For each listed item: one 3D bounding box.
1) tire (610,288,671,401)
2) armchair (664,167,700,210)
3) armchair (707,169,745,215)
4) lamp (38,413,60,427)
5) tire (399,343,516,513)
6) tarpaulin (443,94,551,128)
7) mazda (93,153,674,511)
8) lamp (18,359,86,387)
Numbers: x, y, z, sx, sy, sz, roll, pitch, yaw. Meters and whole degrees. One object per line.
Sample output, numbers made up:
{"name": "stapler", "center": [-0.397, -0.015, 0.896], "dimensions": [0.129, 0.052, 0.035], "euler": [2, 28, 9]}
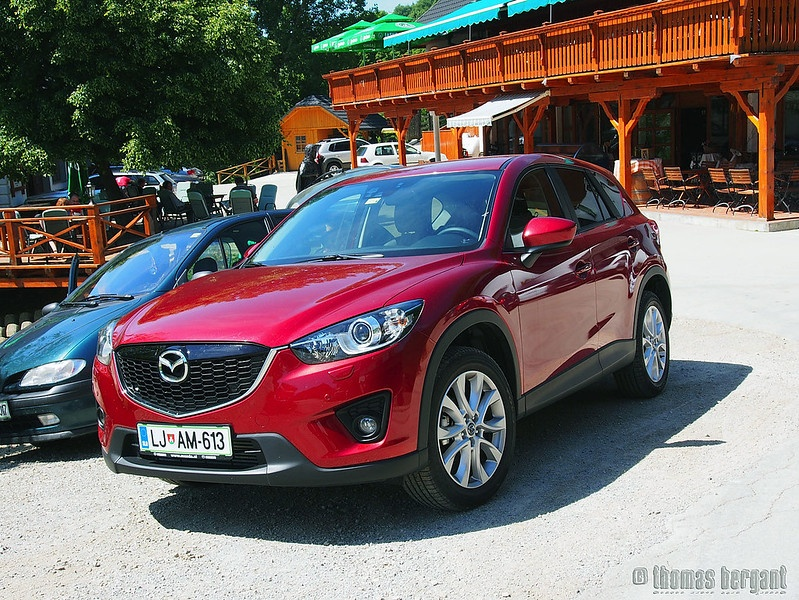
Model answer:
{"name": "tire", "center": [2.156, 0.393, 5.799], "dimensions": [0.260, 0.922, 0.853], "euler": [-4, -9, 39]}
{"name": "armchair", "center": [8.148, -3.202, 18.702], "dimensions": [0.847, 1.184, 0.874], "euler": [-2, 6, -2]}
{"name": "armchair", "center": [8.610, -2.905, 17.089], "dimensions": [0.782, 1.138, 0.766], "euler": [-6, 11, -1]}
{"name": "lamp", "center": [-3.102, 1.065, 5.815], "dimensions": [0.116, 0.104, 0.163], "euler": [-3, 4, 9]}
{"name": "tire", "center": [0.360, 0.761, 3.903], "dimensions": [0.824, 0.909, 0.255], "euler": [1, -3, -39]}
{"name": "tarpaulin", "center": [3.317, -6.544, 22.398], "dimensions": [1.746, 0.942, 2.474], "euler": [-21, 8, -34]}
{"name": "mazda", "center": [0.494, 0.084, 5.864], "dimensions": [2.800, 2.334, 5.436], "euler": [-7, 1, 39]}
{"name": "lamp", "center": [-3.101, 0.648, 5.860], "dimensions": [0.611, 0.210, 0.117], "euler": [-4, 7, 10]}
